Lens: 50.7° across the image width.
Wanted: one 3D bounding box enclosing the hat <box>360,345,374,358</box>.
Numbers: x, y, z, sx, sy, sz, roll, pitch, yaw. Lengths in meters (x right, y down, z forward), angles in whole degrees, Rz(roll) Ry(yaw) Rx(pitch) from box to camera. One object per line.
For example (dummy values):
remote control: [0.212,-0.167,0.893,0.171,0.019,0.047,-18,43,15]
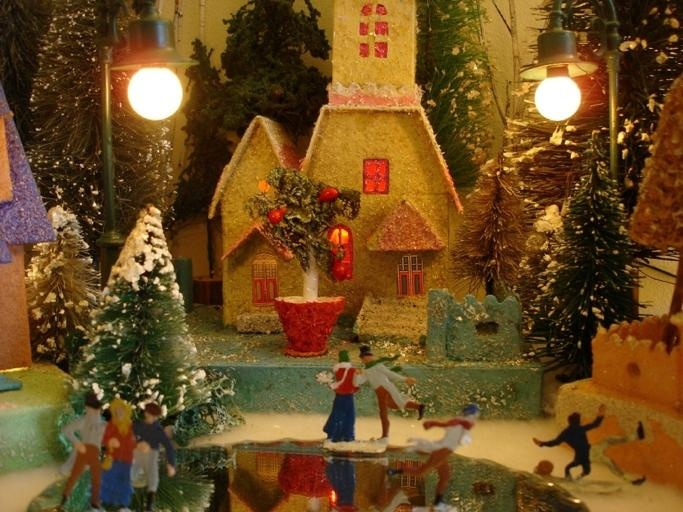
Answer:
hat: [0.169,0.684,5.019,0.092,0.043,0.109,-4,8,-18]
